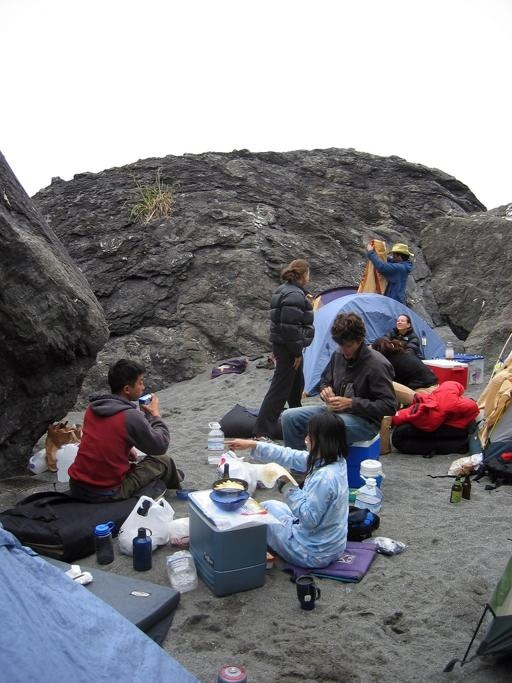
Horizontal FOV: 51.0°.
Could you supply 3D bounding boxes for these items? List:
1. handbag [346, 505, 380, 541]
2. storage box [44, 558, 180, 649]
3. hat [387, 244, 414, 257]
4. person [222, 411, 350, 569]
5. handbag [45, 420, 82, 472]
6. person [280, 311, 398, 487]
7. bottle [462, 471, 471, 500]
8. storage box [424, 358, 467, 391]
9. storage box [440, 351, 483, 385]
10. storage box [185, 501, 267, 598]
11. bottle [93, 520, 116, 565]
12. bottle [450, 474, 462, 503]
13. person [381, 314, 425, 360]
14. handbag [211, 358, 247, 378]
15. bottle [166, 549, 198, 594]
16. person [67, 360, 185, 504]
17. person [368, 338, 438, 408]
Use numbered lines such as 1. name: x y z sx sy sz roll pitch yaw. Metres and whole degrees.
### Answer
1. handbag: 0.717 1.216 3.623 0.179 0.074 0.194 0 -1 22
2. storage box: -0.656 1.301 2.684 0.518 0.137 0.456 4 7 8
3. hat: 2.402 -1.545 9.016 0.324 0.179 0.353 4 8 12
4. person: 0.206 0.956 3.408 0.817 1.029 0.560 10 24 20
5. handbag: -1.906 1.026 5.440 0.302 0.235 0.365 -13 35 -3
6. person: 0.709 0.512 4.797 1.070 1.444 0.862 3 6 10
7. bottle: 1.683 1.161 4.268 0.073 0.169 0.076 3 9 0
8. storage box: 2.782 0.415 7.723 0.504 0.296 0.520 -8 12 -34
9. storage box: 3.489 0.424 8.728 0.553 0.325 0.556 12 25 42
10. storage box: -0.174 1.177 3.190 0.375 0.372 0.628 0 -3 -23
11. bottle: -0.955 1.260 3.354 0.137 0.219 0.130 -7 -6 -1
12. bottle: 1.600 1.163 4.272 0.088 0.185 0.239 6 9 21
13. person: 2.061 -0.081 7.639 0.733 0.721 0.462 -8 -10 40
14. handbag: -0.489 0.496 9.957 0.457 0.125 0.431 -9 13 -21
15. bottle: -0.433 1.316 3.091 0.180 0.085 0.293 -1 20 -12
16. person: -1.002 0.691 4.279 0.807 1.004 0.988 3 1 32
17. person: 1.891 0.391 6.844 0.869 0.866 0.633 6 23 12
